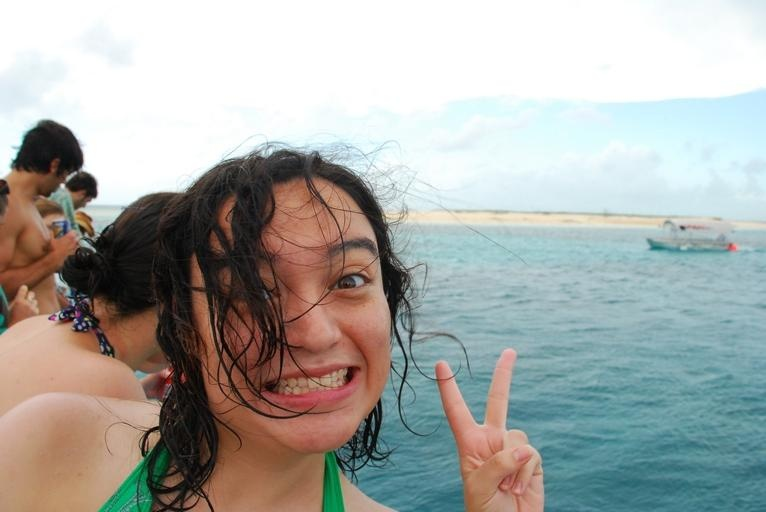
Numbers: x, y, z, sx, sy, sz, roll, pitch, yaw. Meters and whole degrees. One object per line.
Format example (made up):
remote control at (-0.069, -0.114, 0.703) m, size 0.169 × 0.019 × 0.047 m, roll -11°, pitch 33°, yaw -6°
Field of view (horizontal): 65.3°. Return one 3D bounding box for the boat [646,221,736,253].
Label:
boat at (12.648, -0.781, 24.286) m, size 3.246 × 1.476 × 1.739 m, roll 11°, pitch 4°, yaw 11°
